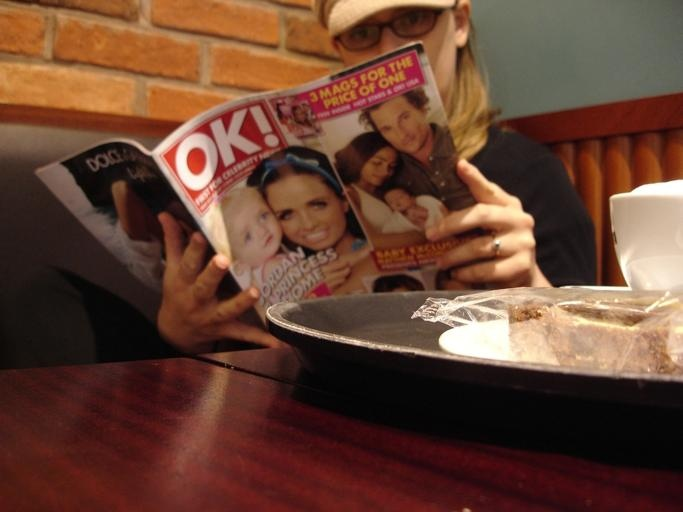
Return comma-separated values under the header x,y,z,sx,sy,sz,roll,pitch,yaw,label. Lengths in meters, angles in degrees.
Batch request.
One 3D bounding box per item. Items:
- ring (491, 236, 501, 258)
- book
x,y,z,sx,sy,sz,roll,pitch,yaw,label
0.227,-0.012,0.796,0.008,0.018,0.025,1,68,28,ring
-0.106,-0.083,0.729,0.539,0.364,0.229,4,11,15,book
